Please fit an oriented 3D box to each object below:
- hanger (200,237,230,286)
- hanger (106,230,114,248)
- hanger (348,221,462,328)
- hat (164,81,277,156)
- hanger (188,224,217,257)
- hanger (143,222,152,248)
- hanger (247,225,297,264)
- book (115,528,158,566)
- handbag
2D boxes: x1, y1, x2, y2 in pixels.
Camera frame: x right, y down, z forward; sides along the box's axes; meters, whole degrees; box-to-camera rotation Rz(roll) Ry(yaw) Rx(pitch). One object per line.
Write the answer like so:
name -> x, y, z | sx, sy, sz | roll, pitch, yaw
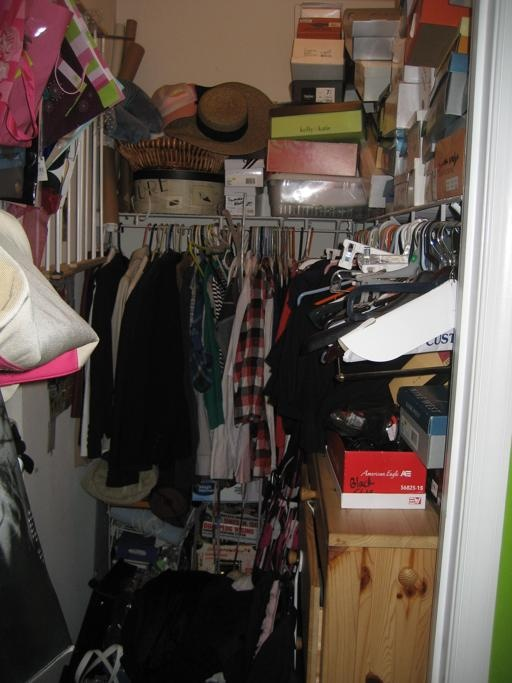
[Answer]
hanger -> -0.147, -0.313, 2.029 | 0.056, 0.167, 0.129 | 6, 13, 13
hanger -> -0.637, -0.450, 2.313 | 0.020, 0.070, 0.098 | 1, 4, -22
hanger -> 0.309, -0.163, 1.049 | 0.142, 0.142, 0.102 | -2, -9, 33
hat -> -0.145, -0.872, 2.214 | 0.340, 0.361, 0.102 | 11, -20, -2
hanger -> -0.213, -0.393, 2.084 | 0.113, 0.150, 0.050 | 1, 5, 21
hanger -> -0.466, -0.467, 2.278 | 0.018, 0.101, 0.176 | 2, 9, -12
hanger -> 0.063, -0.394, 2.133 | 0.177, 0.168, 0.026 | 6, 17, 9
book -> -0.482, 0.839, 2.184 | 0.114, 0.032, 0.118 | 9, 30, 3
handbag -> -0.376, -0.544, 1.160 | 0.163, 0.282, 0.099 | 2, 4, -20
